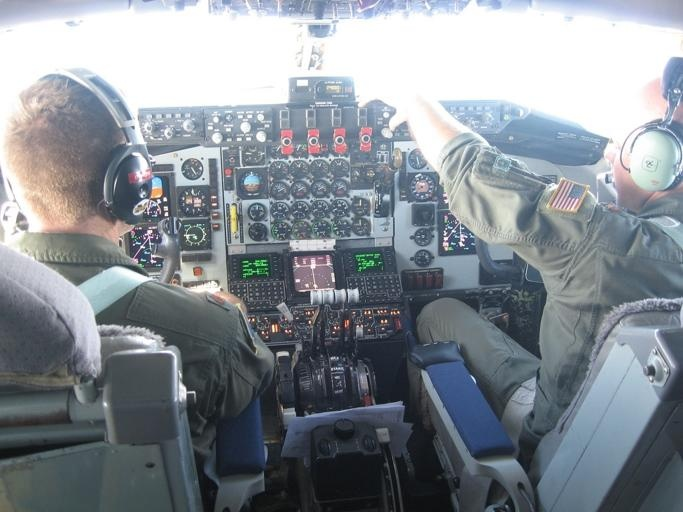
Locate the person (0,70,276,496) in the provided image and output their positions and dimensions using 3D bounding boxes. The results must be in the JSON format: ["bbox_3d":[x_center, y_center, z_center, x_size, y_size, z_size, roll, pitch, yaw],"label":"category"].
[{"bbox_3d":[-0.667,0.085,2.019,0.851,1.367,0.437,-2,9,-8],"label":"person"}]
